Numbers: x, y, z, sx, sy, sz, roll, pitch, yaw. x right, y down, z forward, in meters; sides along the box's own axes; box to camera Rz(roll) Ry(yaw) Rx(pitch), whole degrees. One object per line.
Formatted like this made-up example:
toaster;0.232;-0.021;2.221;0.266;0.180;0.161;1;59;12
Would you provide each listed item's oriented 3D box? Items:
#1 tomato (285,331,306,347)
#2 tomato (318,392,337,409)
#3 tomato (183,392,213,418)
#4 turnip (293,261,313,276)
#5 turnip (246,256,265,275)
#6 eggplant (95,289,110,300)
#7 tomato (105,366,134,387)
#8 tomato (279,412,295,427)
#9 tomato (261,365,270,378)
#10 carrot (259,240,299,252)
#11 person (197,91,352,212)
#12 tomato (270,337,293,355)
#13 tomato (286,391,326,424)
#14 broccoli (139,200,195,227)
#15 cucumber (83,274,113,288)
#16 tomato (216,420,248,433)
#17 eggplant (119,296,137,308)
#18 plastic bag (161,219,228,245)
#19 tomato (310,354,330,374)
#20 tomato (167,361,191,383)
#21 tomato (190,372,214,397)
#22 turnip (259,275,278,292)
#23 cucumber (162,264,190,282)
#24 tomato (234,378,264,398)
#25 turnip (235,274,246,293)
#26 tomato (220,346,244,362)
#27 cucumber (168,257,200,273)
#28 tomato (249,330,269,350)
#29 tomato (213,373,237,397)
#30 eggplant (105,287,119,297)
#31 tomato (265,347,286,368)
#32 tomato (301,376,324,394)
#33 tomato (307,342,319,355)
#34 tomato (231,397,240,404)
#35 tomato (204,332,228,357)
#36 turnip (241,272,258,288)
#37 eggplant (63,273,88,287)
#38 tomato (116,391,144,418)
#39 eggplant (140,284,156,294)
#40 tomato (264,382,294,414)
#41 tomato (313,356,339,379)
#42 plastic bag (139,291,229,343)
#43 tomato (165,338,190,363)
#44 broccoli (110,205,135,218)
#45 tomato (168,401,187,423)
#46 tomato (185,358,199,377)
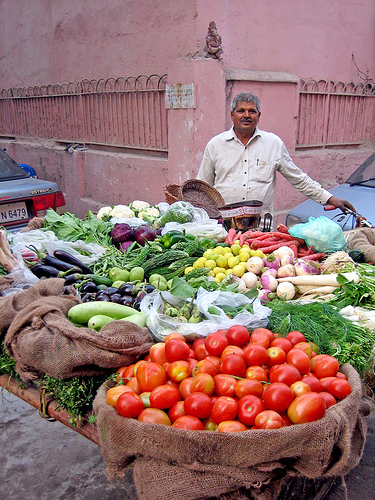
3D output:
tomato;0.496;0.409;1.755;0.062;0.055;0.056;-5;-4;-7
tomato;0.504;0.537;1.379;0.053;0.058;0.051;11;-3;8
tomato;0.036;0.526;1.354;0.088;0.102;0.087;6;17;26
turnip;0.755;0.123;2.523;0.102;0.109;0.094;5;9;-10
turnip;0.453;0.107;2.613;0.123;0.113;0.117;1;4;-2
eggplant;-0.475;0.250;2.162;0.052;0.034;0.064;1;1;-3
tomato;-0.279;0.523;1.590;0.095;0.041;0.149;2;6;-14
tomato;0.332;0.586;1.325;0.054;0.058;0.052;-5;1;8
tomato;0.330;0.510;1.615;0.031;0.028;0.031;7;-14;39
carrot;0.677;-0.029;2.874;0.257;0.045;0.050;-11;-2;-4
person;0.808;-1.095;4.391;1.416;1.208;1.019;4;7;4
tomato;0.407;0.426;1.689;0.065;0.071;0.062;-1;-10;-18
tomato;0.394;0.533;1.302;0.141;0.091;0.100;-4;-6;2
broccoli;-0.180;-0.318;3.361;0.499;0.213;0.237;1;0;39
cucumber;-0.552;0.191;2.440;0.228;0.064;0.067;16;-13;-23
tomato;0.147;0.558;1.237;0.064;0.032;0.046;-1;-4;-6
eggplant;-0.330;0.291;2.154;0.074;0.053;0.053;3;4;13
plastic bag;0.066;-0.158;3.141;0.531;0.198;0.281;0;7;-31
tomato;0.544;0.464;1.597;0.072;0.072;0.070;8;50;15
tomato;-0.031;0.472;1.491;0.087;0.076;0.082;3;-28;7
tomato;0.050;0.480;1.406;0.084;0.093;0.075;16;-11;-4
turnip;0.514;0.213;2.440;0.092;0.107;0.101;1;3;43
cucumber;-0.075;0.148;2.702;0.220;0.058;0.058;-27;34;-26
tomato;0.218;0.500;1.389;0.085;0.057;0.061;5;-20;-6
turnip;0.340;0.214;2.513;0.079;0.099;0.076;-9;-1;-39
tomato;0.188;0.434;1.607;0.059;0.051;0.056;12;-12;-14
cucumber;-0.033;0.085;2.726;0.274;0.068;0.069;-22;-13;-29
tomato;0.320;0.402;1.712;0.069;0.066;0.063;6;-1;6
tomato;0.140;0.506;1.435;0.079;0.071;0.069;13;-25;6
eggplant;-0.434;0.235;2.231;0.039;0.037;0.051;-9;-6;29
tomato;0.356;0.455;1.648;0.088;0.082;0.081;8;-35;-18
tomato;0.469;0.506;1.456;0.071;0.062;0.063;-4;2;6
tomato;0.560;0.443;1.740;0.051;0.049;0.052;-2;6;4
tomato;0.167;0.534;1.361;0.029;0.031;0.027;3;-19;-2
tomato;0.121;0.405;1.653;0.094;0.083;0.090;-8;26;-17
turnip;0.411;0.206;2.618;0.095;0.108;0.092;6;51;24
eggplant;-0.707;0.186;2.408;0.152;0.044;0.043;-15;-6;-34
tomato;-0.197;0.537;1.342;0.092;0.076;0.094;-1;8;-35
eggplant;-0.239;0.225;2.262;0.061;0.033;0.044;9;-5;-34
tomato;0.309;0.510;1.347;0.102;0.103;0.102;7;46;15
tomato;0.556;0.474;1.546;0.093;0.067;0.065;6;-32;5
plastic bag;-0.050;0.346;1.954;0.332;0.204;0.415;0;7;-29
tomato;-0.046;0.416;1.599;0.095;0.092;0.107;6;7;25
broccoli;-0.598;-0.353;3.517;0.200;0.098;0.222;-1;7;-35
tomato;-0.038;0.573;1.362;0.058;0.037;0.070;3;29;1
tomato;0.018;0.498;1.625;0.056;0.050;0.051;2;19;22
